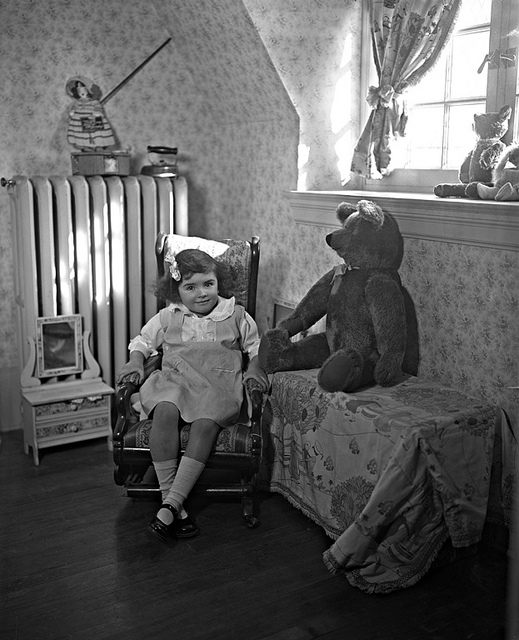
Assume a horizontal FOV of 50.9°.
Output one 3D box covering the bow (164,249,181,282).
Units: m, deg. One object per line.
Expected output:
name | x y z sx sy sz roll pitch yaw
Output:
bow | -0.385 -0.250 2.404 0.057 0.169 0.050 -13 -31 -5

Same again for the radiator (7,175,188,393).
radiator | -0.868 -0.194 3.003 0.925 1.213 0.261 -3 7 -30

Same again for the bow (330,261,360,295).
bow | 0.335 -0.181 2.204 0.034 0.120 0.086 28 -13 -39

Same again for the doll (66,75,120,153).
doll | -0.952 -1.080 3.014 0.239 0.469 0.171 -7 20 -32

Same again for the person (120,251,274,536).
person | -0.227 0.192 2.296 0.564 0.649 1.149 7 39 2

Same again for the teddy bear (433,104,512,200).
teddy bear | 0.791 -0.598 2.054 0.203 0.388 0.235 -14 25 -40

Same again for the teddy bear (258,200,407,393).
teddy bear | 0.354 -0.066 2.161 0.531 0.810 0.497 13 20 32

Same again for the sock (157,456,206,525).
sock | -0.287 0.597 1.943 0.192 0.218 0.070 -4 7 -38

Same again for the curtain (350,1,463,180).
curtain | 0.600 -1.013 2.307 0.277 0.745 0.515 -1 6 -11

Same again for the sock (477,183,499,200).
sock | 0.801 -0.451 1.905 0.042 0.053 0.058 25 50 32

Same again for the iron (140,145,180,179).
iron | -0.570 -0.900 3.166 0.239 0.205 0.182 0 23 -11

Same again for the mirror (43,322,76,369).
mirror | -1.051 0.118 2.817 0.210 0.304 0.022 -6 11 -37

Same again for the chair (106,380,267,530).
chair | -0.268 0.360 2.296 0.647 0.791 0.620 -1 -4 9
